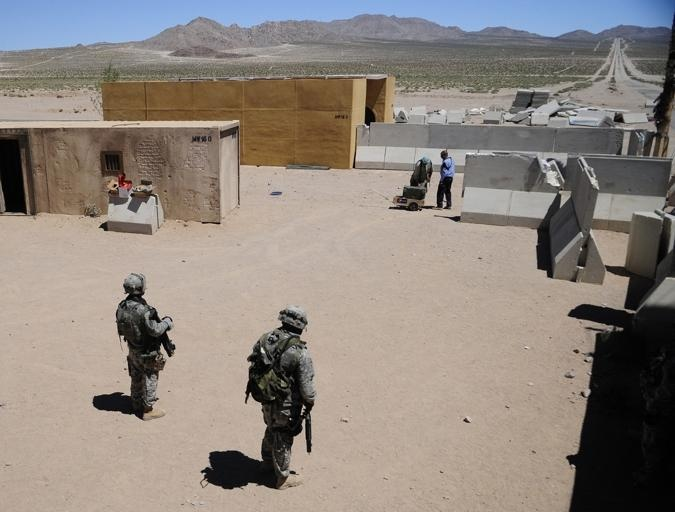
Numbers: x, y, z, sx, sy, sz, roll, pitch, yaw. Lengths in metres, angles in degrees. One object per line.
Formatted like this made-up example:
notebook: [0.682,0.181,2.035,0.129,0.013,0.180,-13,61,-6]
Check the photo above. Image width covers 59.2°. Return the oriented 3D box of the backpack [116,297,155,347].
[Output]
backpack: [-2.660,0.900,7.933,0.487,0.677,0.316,7,18,20]

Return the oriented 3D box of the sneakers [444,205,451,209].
sneakers: [3.390,-1.492,18.341,0.221,0.159,0.075,-1,-3,0]

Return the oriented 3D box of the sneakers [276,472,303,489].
sneakers: [-0.588,2.769,7.249,0.290,0.132,0.149,-13,24,-29]

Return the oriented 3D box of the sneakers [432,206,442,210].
sneakers: [3.009,-1.460,18.221,0.114,0.106,0.273,-6,6,-31]

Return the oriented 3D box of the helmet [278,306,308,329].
helmet: [-0.540,0.753,7.176,0.310,0.230,0.225,27,5,5]

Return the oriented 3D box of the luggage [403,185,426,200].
luggage: [2.256,-1.916,17.766,0.497,0.324,0.414,-2,13,-9]
